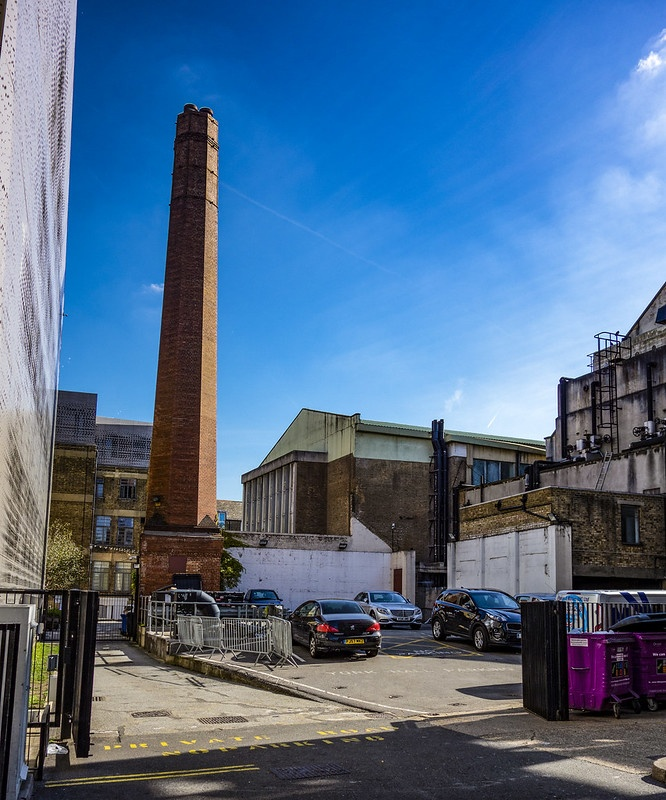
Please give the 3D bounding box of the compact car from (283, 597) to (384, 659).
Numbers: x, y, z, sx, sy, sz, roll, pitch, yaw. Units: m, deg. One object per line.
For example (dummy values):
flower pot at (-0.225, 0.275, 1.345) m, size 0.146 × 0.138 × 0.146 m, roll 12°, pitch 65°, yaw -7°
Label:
compact car at (-0.070, 5.665, 19.633) m, size 1.121 × 0.844 × 2.614 m, roll 3°, pitch -9°, yaw -16°

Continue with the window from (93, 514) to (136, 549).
window at (-14.133, 8.461, 50.550) m, size 2.216 × 1.923 × 0.180 m, roll 1°, pitch -9°, yaw -11°

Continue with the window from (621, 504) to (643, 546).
window at (11.377, 4.746, 29.922) m, size 0.863 × 1.494 × 0.328 m, roll 6°, pitch -15°, yaw -28°

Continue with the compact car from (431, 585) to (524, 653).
compact car at (4.086, 5.820, 21.198) m, size 1.542 × 1.359 × 3.084 m, roll 8°, pitch -20°, yaw -23°

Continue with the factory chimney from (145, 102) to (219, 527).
factory chimney at (-5.920, -3.980, 32.188) m, size 2.425 × 18.403 × 1.164 m, roll 1°, pitch -13°, yaw -10°
